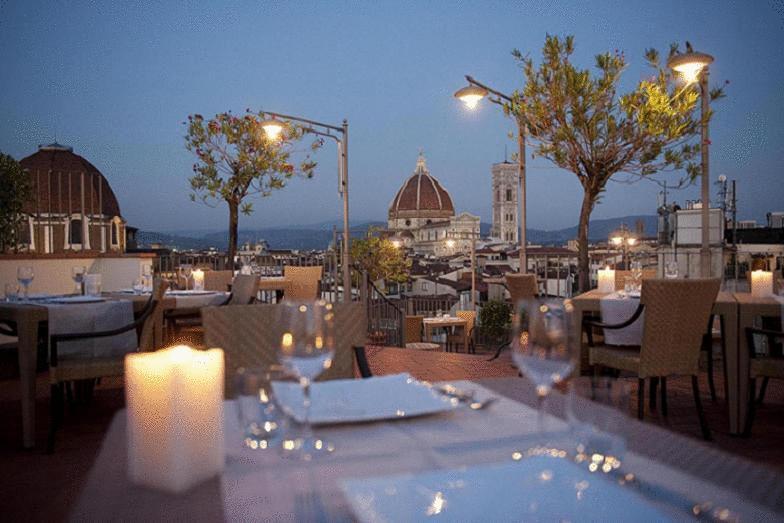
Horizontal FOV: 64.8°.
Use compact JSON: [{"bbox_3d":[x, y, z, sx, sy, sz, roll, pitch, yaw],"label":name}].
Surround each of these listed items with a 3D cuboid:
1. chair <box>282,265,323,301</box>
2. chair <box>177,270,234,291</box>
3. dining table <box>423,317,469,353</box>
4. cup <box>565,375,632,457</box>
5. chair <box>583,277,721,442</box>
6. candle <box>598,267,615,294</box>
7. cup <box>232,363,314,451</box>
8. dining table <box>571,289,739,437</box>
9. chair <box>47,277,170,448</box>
[{"bbox_3d":[-1.361,0.330,9.452,0.440,0.644,0.433,1,-2,-4],"label":"chair"},{"bbox_3d":[-2.248,0.236,7.683,0.267,0.274,0.335,1,1,-39],"label":"chair"},{"bbox_3d":[1.313,1.714,14.796,0.785,0.924,0.842,1,-1,-7],"label":"dining table"},{"bbox_3d":[0.812,0.600,2.472,0.251,0.330,0.270,0,-5,0],"label":"cup"},{"bbox_3d":[2.176,0.757,5.245,0.763,1.353,0.934,-3,8,-7],"label":"chair"},{"bbox_3d":[2.135,0.198,6.317,0.206,0.266,0.216,-1,-4,32],"label":"candle"},{"bbox_3d":[-0.542,0.604,2.737,0.291,0.341,0.316,-2,3,0],"label":"cup"},{"bbox_3d":[2.268,0.597,5.541,1.440,1.201,1.411,-1,1,-29],"label":"dining table"},{"bbox_3d":[-2.418,0.806,5.171,0.903,1.284,0.805,2,-4,-41],"label":"chair"}]
